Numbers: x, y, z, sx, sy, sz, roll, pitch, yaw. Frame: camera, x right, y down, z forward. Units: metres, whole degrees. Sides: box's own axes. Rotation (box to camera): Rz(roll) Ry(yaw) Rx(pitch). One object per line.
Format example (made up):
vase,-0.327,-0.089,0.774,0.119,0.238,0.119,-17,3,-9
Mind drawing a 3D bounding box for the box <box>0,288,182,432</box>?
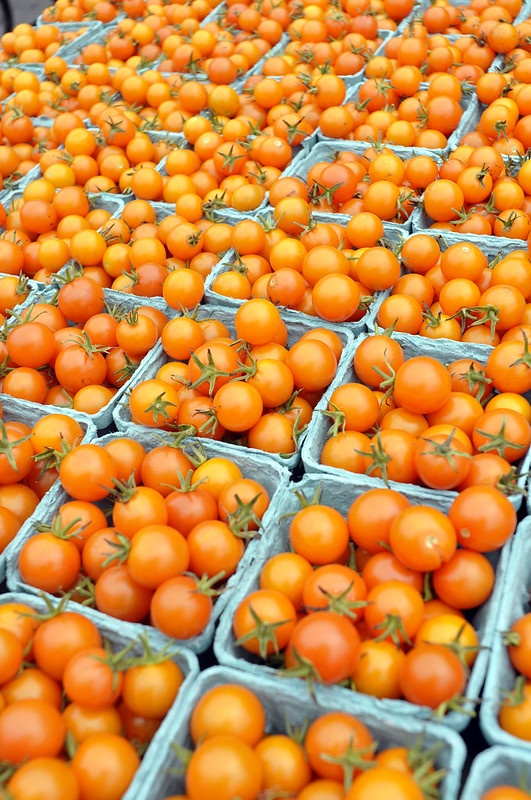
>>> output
box,-0.554,-0.149,1.993,0.444,0.176,0.441,22,50,7
